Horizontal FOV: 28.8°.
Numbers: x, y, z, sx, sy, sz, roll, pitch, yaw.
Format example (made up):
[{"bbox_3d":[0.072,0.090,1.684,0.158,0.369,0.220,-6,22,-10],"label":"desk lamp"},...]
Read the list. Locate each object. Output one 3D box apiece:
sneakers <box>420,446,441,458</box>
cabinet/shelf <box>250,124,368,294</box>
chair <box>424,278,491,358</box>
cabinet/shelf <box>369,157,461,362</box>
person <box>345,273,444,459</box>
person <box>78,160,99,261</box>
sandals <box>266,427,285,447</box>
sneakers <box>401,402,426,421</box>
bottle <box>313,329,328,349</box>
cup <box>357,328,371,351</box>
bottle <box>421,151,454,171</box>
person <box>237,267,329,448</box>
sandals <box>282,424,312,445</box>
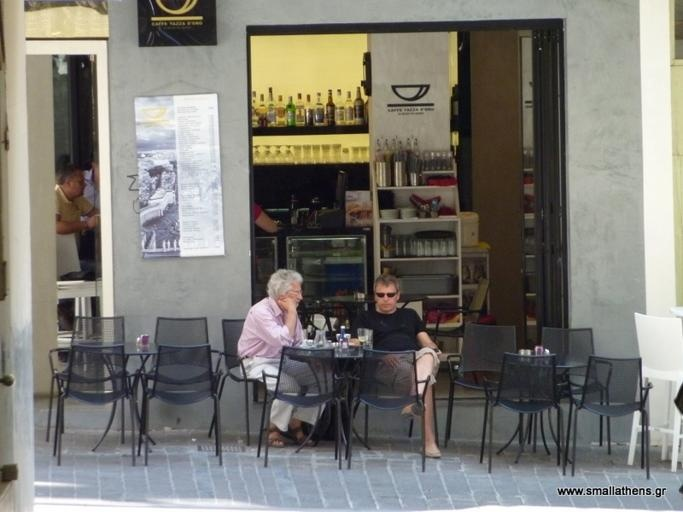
[{"bbox_3d":[0.816,1.809,11.854,0.099,0.083,0.187,1,-4,-17],"label":"sneakers"},{"bbox_3d":[-0.549,-0.729,16.941,1.728,3.205,1.083,-4,45,-7],"label":"cabinet/shelf"},{"bbox_3d":[1.246,0.804,14.641,0.804,1.087,0.826,0,4,-21],"label":"chair"},{"bbox_3d":[0.880,0.095,14.707,0.932,2.205,0.587,-2,8,4],"label":"cabinet/shelf"},{"bbox_3d":[0.538,1.030,12.092,0.753,1.608,1.218,-2,6,0],"label":"person"},{"bbox_3d":[-2.430,-0.441,12.833,0.122,0.993,0.420,-6,7,-37],"label":"person"},{"bbox_3d":[-0.580,1.692,12.164,0.161,0.181,0.287,-2,6,-2],"label":"sandals"},{"bbox_3d":[0.653,1.431,11.928,0.250,0.130,0.349,-1,-1,6],"label":"sneakers"},{"bbox_3d":[-0.172,0.786,12.031,0.134,0.160,0.130,5,-4,-38],"label":"bottle"},{"bbox_3d":[0.225,0.771,11.996,0.118,0.169,0.218,-2,6,-3],"label":"cup"},{"bbox_3d":[1.078,-1.071,14.749,0.350,0.242,0.100,-1,6,3],"label":"bottle"},{"bbox_3d":[-0.564,0.980,12.119,0.731,1.611,0.704,-3,6,-12],"label":"person"},{"bbox_3d":[-0.359,1.698,12.267,0.368,0.158,0.129,-1,1,40],"label":"sandals"}]
